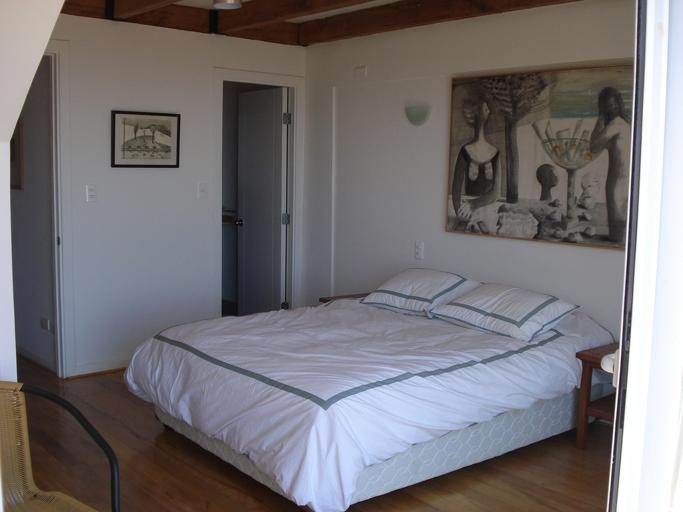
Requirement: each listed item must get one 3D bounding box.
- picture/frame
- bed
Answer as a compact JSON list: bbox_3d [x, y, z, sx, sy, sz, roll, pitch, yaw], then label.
[{"bbox_3d":[1.423,-0.754,3.645,1.585,1.273,0.071,9,8,41],"label":"picture/frame"},{"bbox_3d":[0.363,0.704,2.948,1.887,0.528,1.534,-5,11,-37],"label":"bed"}]
